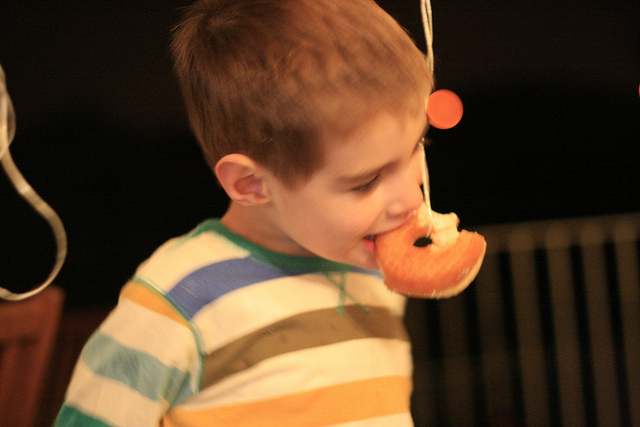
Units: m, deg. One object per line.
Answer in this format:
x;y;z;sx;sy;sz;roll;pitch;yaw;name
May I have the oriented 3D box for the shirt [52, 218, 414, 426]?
-0.199;0.350;1.864;0.900;0.620;0.511;2;2;-35;shirt
